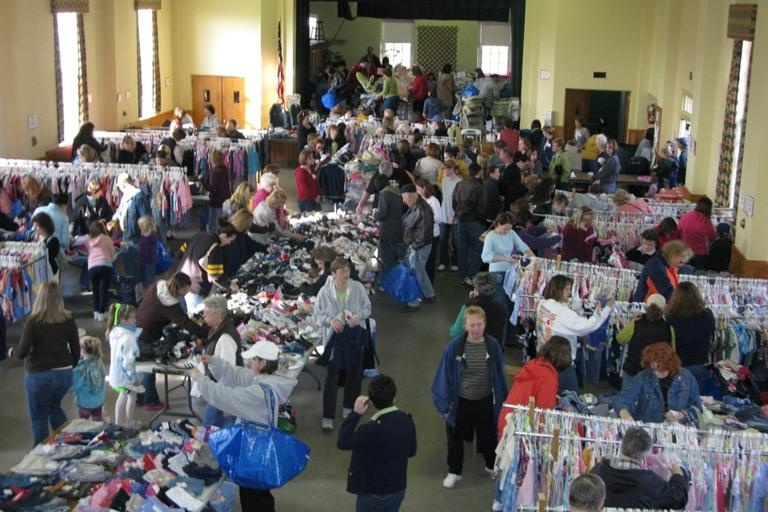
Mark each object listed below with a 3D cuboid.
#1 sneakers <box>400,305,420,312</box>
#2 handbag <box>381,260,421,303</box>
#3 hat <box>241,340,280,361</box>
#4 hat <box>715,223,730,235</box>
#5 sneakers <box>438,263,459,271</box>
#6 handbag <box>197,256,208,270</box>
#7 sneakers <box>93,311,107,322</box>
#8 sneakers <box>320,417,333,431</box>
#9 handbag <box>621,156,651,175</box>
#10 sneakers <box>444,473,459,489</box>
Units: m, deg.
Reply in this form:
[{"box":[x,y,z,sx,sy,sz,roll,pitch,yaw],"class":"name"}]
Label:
[{"box":[0.401,0.816,9.292,0.320,0.163,0.117,2,10,-5],"class":"sneakers"},{"box":[0.285,0.367,9.104,0.478,0.395,0.247,-44,-16,29],"class":"handbag"},{"box":[-1.015,0.774,4.898,0.229,0.135,0.170,2,5,-9],"class":"hat"},{"box":[5.090,-0.427,8.883,0.142,0.116,0.211,4,27,16],"class":"hat"},{"box":[1.180,0.164,10.802,0.343,0.167,0.132,3,8,3],"class":"sneakers"},{"box":[-2.179,0.070,7.143,0.101,0.157,0.075,6,-2,-10],"class":"handbag"},{"box":[-4.105,0.870,8.597,0.092,0.119,0.256,-6,15,-36],"class":"sneakers"},{"box":[-0.621,1.839,6.491,0.084,0.086,0.175,1,39,-9],"class":"sneakers"},{"box":[6.144,-2.201,14.335,0.463,0.501,0.450,8,12,28],"class":"handbag"},{"box":[0.657,2.205,5.826,0.087,0.081,0.190,1,6,22],"class":"sneakers"}]
